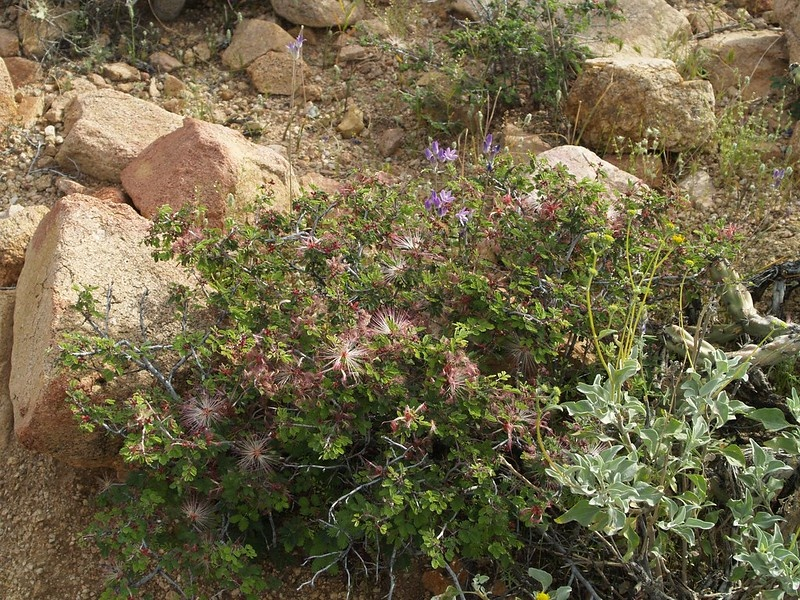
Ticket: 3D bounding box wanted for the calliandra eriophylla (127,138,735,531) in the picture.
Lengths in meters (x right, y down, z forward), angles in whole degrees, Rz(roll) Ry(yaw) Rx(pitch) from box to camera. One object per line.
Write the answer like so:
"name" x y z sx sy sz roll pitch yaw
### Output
"calliandra eriophylla" 0.104 0.548 7.210 2.537 1.304 2.672 1 48 0
